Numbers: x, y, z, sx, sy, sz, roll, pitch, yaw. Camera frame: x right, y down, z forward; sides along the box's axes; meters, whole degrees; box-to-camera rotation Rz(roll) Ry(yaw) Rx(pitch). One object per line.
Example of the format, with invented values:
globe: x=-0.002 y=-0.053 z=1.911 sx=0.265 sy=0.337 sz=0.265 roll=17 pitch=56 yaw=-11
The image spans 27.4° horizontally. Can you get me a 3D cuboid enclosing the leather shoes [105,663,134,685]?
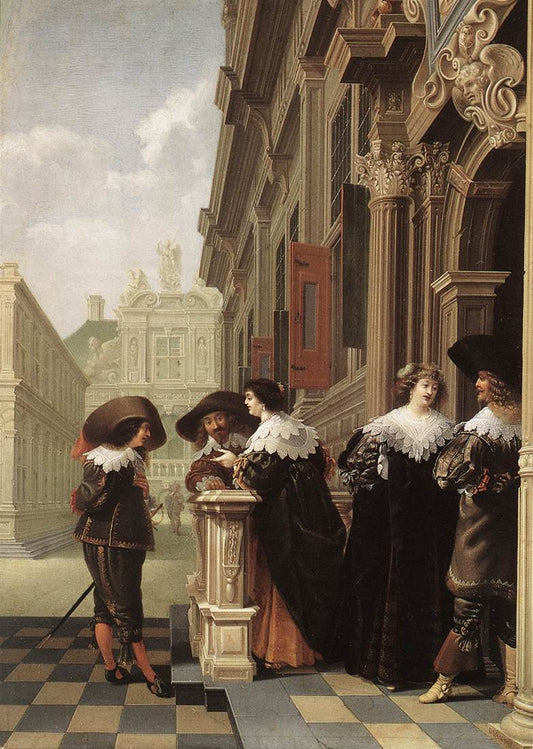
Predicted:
leather shoes: x=-0.894 y=1.833 z=6.697 sx=0.157 sy=0.114 sz=0.073 roll=-7 pitch=2 yaw=-20

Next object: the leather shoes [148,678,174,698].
leather shoes: x=-0.622 y=1.872 z=6.516 sx=0.066 sy=0.042 sz=0.168 roll=-5 pitch=26 yaw=-31

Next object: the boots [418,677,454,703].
boots: x=0.858 y=1.688 z=5.836 sx=0.232 sy=0.159 sz=0.086 roll=2 pitch=-9 yaw=-11
